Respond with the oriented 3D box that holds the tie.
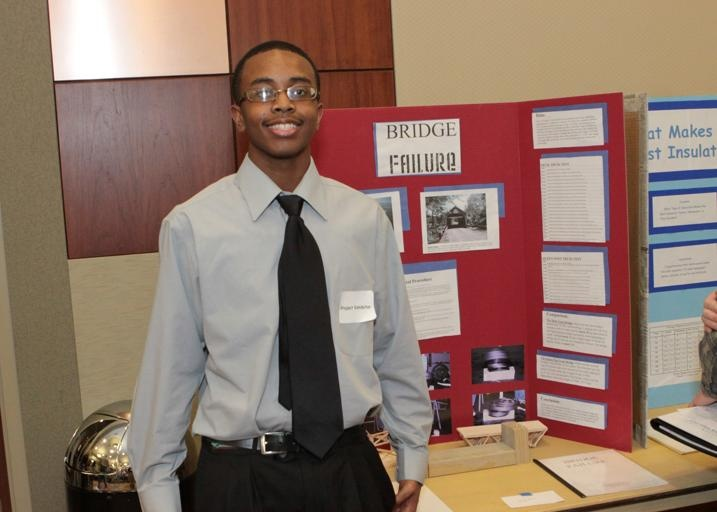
[{"bbox_3d":[-0.167,0.214,2.177,0.198,0.825,0.244,-4,8,-3],"label":"tie"}]
